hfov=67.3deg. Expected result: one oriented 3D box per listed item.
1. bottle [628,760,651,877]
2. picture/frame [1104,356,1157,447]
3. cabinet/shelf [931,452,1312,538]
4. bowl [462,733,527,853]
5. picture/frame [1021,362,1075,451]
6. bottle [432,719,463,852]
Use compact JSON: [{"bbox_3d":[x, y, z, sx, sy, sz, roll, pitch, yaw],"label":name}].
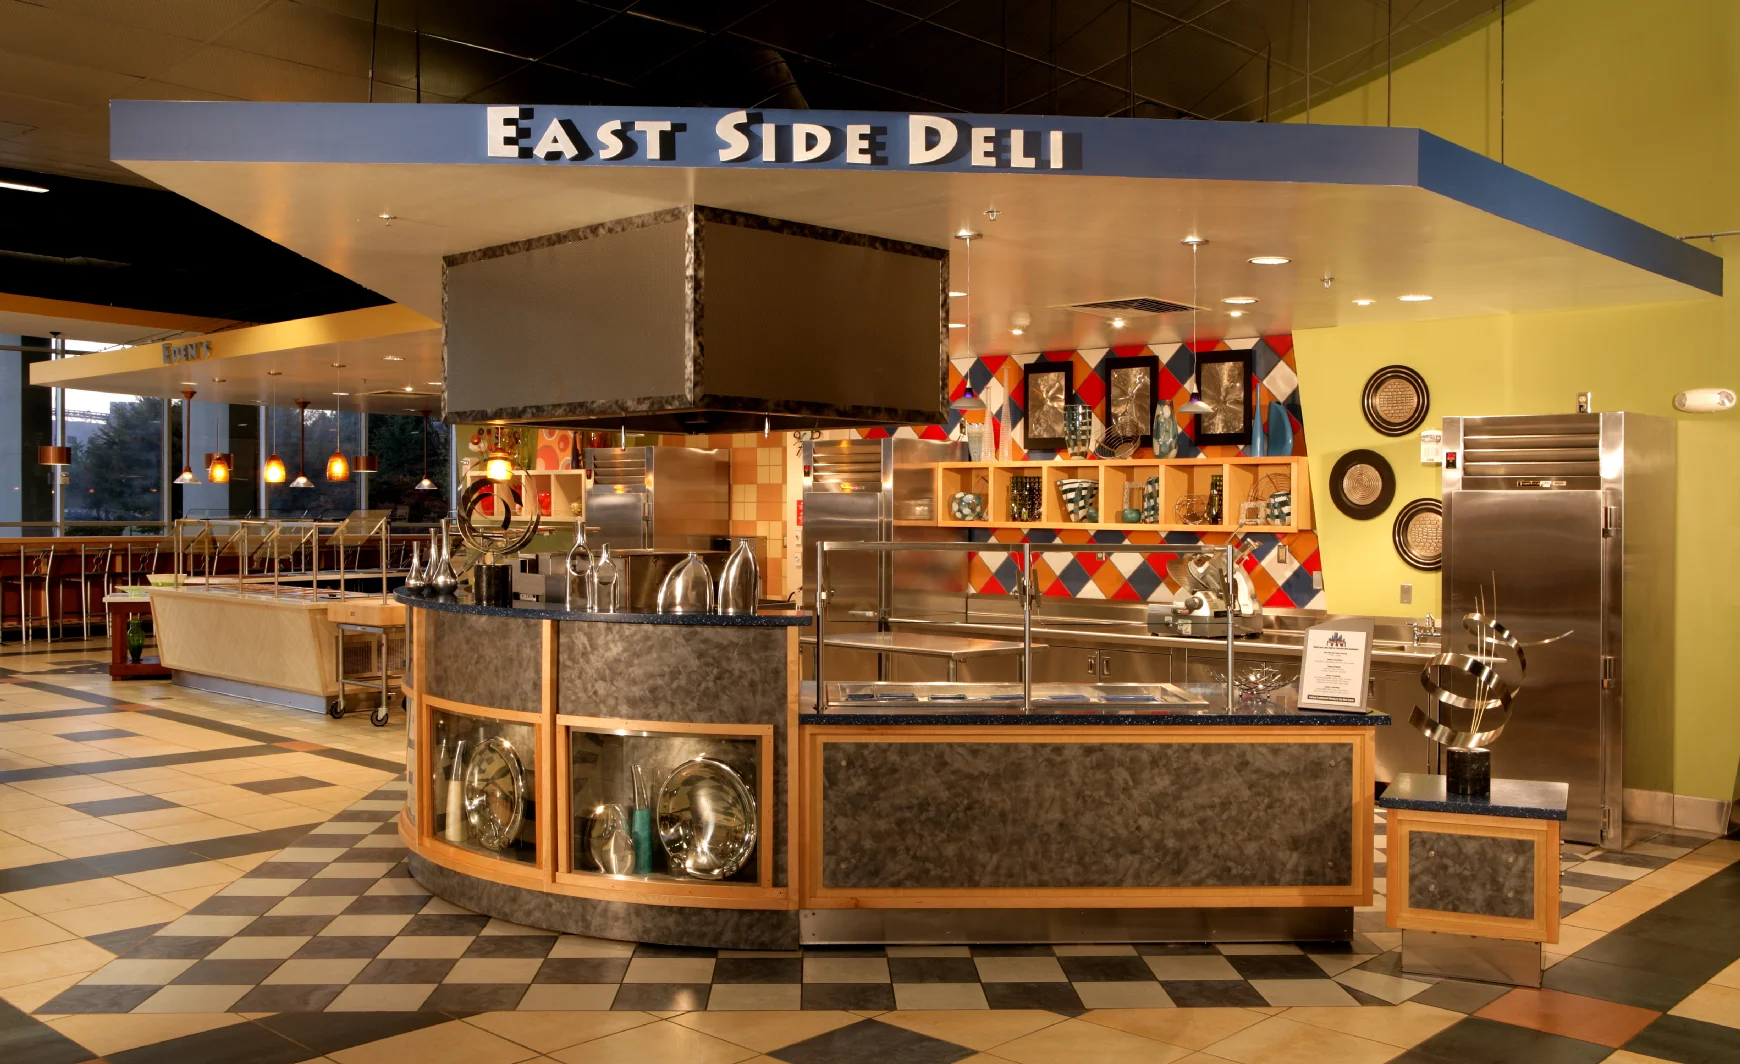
[{"bbox_3d":[-1.360,1.717,7.778,0.127,0.630,0.155,-2,11,-11],"label":"bottle"},{"bbox_3d":[2.378,-1.224,12.058,0.555,0.823,0.365,5,11,22],"label":"picture/frame"},{"bbox_3d":[2.215,-0.348,11.796,3.415,0.857,0.614,7,12,33],"label":"cabinet/shelf"},{"bbox_3d":[-2.334,1.643,8.161,0.168,0.632,0.665,3,18,-47],"label":"bowl"},{"bbox_3d":[1.707,-1.229,12.578,0.464,0.741,0.048,0,0,31],"label":"picture/frame"},{"bbox_3d":[-2.678,1.613,8.351,0.339,0.694,0.141,10,14,43],"label":"bottle"}]
